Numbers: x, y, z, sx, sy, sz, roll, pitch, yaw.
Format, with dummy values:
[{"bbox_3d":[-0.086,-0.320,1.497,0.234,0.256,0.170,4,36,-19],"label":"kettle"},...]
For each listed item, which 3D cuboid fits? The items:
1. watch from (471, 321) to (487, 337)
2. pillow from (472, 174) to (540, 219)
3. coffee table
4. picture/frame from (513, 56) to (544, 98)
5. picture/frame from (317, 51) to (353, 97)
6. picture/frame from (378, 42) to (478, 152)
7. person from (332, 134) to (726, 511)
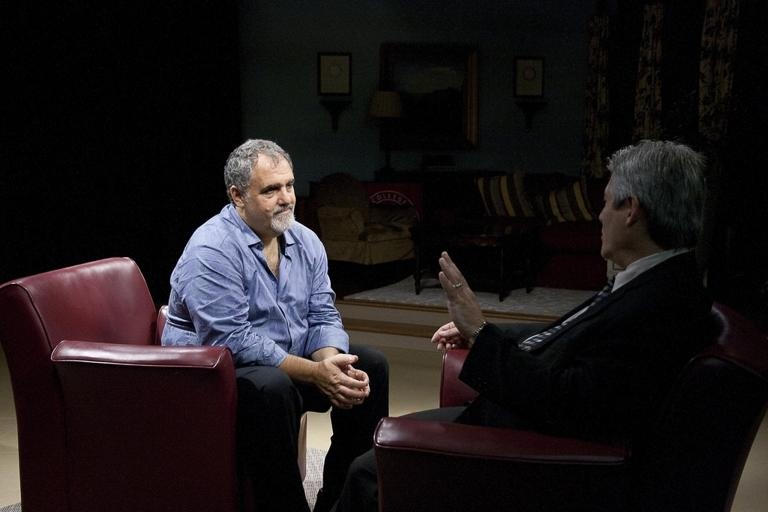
[{"bbox_3d":[0.310,0.238,1.867,0.010,0.048,0.048,35,21,5],"label":"watch"},{"bbox_3d":[1.249,-0.572,5.746,0.458,0.464,0.184,-9,2,22],"label":"pillow"},{"bbox_3d":[0.933,-0.023,5.116,0.848,0.518,0.857,0,1,21],"label":"coffee table"},{"bbox_3d":[1.414,-1.755,5.561,0.408,0.541,0.055,0,0,5],"label":"picture/frame"},{"bbox_3d":[-0.499,-1.872,5.807,0.455,0.524,0.036,0,4,-2],"label":"picture/frame"},{"bbox_3d":[0.448,-1.583,5.742,1.041,1.043,0.074,-3,11,-13],"label":"picture/frame"},{"bbox_3d":[0.608,0.148,2.511,1.262,1.561,1.112,5,4,24],"label":"person"}]
